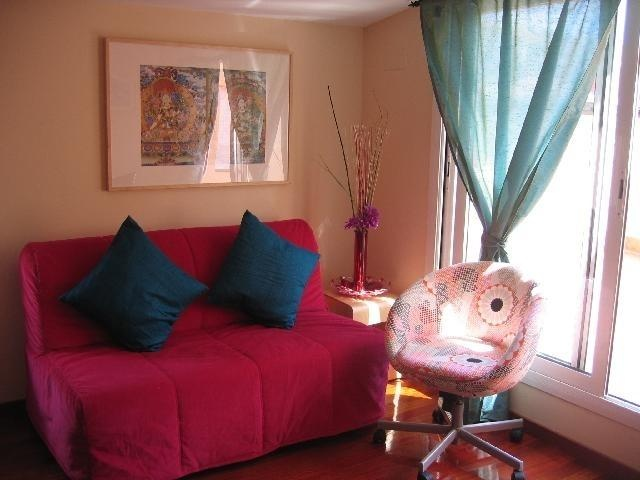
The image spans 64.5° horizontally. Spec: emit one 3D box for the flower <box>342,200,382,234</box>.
[{"bbox_3d":[0.319,-0.177,3.887,0.214,0.123,0.220,-9,0,29],"label":"flower"}]

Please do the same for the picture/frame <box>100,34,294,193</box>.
[{"bbox_3d":[-0.939,-0.945,3.674,1.203,0.914,0.041,-1,4,-28],"label":"picture/frame"}]
